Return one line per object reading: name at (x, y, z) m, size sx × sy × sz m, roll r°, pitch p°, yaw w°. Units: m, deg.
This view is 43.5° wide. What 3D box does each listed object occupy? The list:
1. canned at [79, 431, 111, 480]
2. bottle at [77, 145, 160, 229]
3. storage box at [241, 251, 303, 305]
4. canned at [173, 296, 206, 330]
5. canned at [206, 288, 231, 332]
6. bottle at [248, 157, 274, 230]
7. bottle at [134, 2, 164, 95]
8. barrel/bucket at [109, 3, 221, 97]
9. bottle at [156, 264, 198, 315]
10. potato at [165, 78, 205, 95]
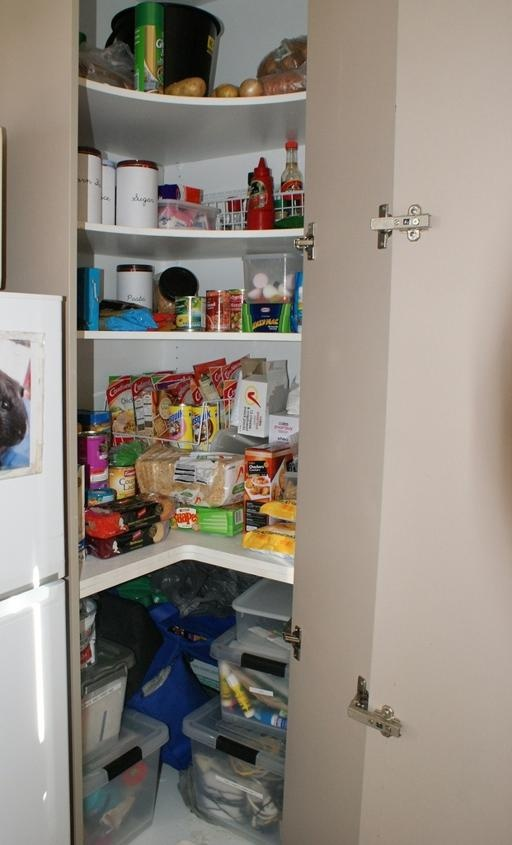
canned at (-0.365, 0.082, 1.442) m, size 0.070 × 0.114 × 0.039 m, roll 0°, pitch 5°, yaw -30°
bottle at (-0.297, -0.491, 1.373) m, size 0.191 × 0.158 × 0.110 m, roll 0°, pitch 5°, yaw -26°
storage box at (0.031, -0.324, 1.466) m, size 0.122 × 0.101 × 0.106 m, roll 0°, pitch 4°, yaw 6°
canned at (-0.160, -0.261, 1.555) m, size 0.075 × 0.092 × 0.079 m, roll -2°, pitch 8°, yaw -15°
canned at (-0.092, -0.263, 1.520) m, size 0.054 × 0.093 × 0.043 m, roll 3°, pitch 4°, yaw 5°
bottle at (0.008, -0.495, 1.406) m, size 0.064 × 0.160 × 0.062 m, roll 3°, pitch 4°, yaw 0°
bottle at (-0.221, -0.772, 1.324) m, size 0.057 × 0.173 × 0.038 m, roll 2°, pitch 4°, yaw -14°
barrel/bucket at (-0.191, -0.784, 1.413) m, size 0.204 × 0.158 × 0.214 m, roll 0°, pitch 5°, yaw 0°
bottle at (-0.213, -0.337, 1.732) m, size 0.110 × 0.122 × 0.128 m, roll 10°, pitch -15°, yaw -7°
potato at (-0.151, -0.708, 1.362) m, size 0.077 × 0.033 × 0.036 m, roll 2°, pitch -20°, yaw 6°
